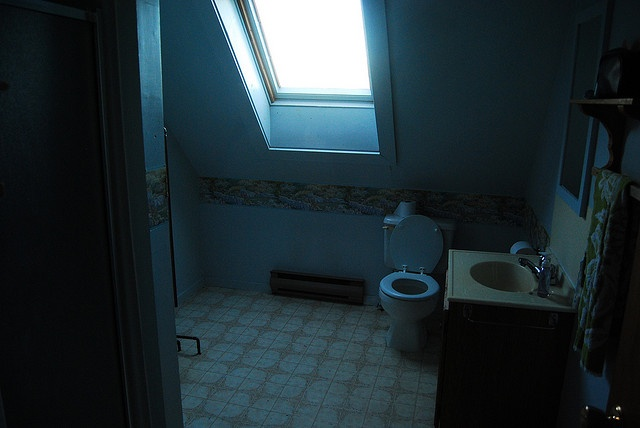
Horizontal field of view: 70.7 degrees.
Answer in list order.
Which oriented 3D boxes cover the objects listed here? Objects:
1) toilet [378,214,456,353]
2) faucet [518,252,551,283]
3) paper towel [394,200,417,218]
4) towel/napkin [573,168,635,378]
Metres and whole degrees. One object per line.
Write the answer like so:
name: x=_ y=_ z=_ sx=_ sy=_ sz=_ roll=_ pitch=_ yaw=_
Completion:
toilet: x=0.729 y=0.529 z=3.595 sx=0.454 sy=1.010 sz=0.667 roll=6 pitch=9 yaw=13
faucet: x=1.175 y=0.285 z=2.469 sx=0.103 sy=0.099 sz=0.158 roll=-8 pitch=25 yaw=5
paper towel: x=0.722 y=-0.045 z=3.796 sx=0.165 sy=0.120 sz=0.118 roll=0 pitch=25 yaw=12
towel/napkin: x=1.134 y=0.227 z=1.818 sx=0.142 sy=0.800 sz=0.307 roll=9 pitch=10 yaw=29
